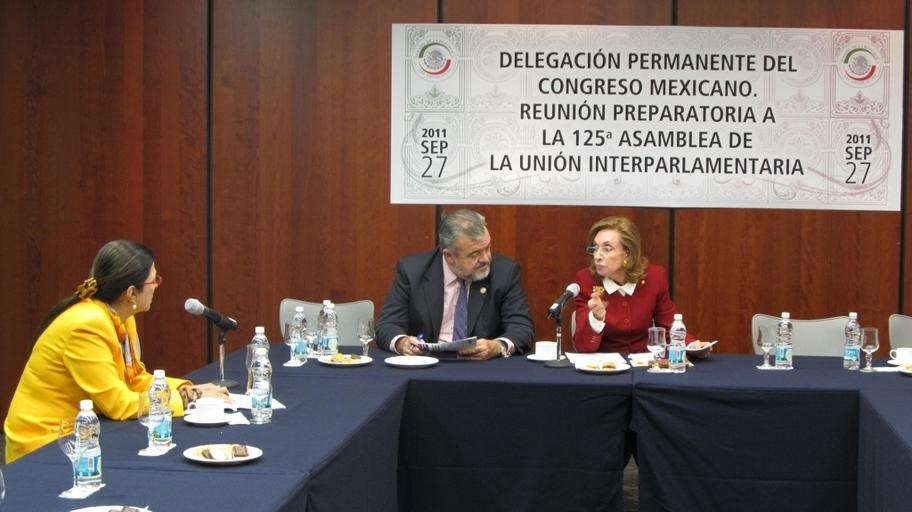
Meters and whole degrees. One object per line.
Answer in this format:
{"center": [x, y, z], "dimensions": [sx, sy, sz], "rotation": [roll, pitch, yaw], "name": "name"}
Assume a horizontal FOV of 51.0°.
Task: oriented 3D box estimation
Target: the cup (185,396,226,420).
{"center": [-1.699, 1.021, 6.467], "dimensions": [0.194, 0.140, 0.149], "rotation": [-1, 1, -10], "name": "cup"}

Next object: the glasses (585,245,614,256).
{"center": [1.198, -0.058, 7.972], "dimensions": [0.102, 0.090, 0.275], "rotation": [-1, 0, -37], "name": "glasses"}

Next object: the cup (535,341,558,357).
{"center": [0.712, 0.738, 7.623], "dimensions": [0.118, 0.090, 0.120], "rotation": [-1, 5, 0], "name": "cup"}

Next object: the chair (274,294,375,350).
{"center": [-1.133, 0.506, 8.370], "dimensions": [0.567, 0.738, 0.531], "rotation": [0, -12, 1], "name": "chair"}

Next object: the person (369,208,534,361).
{"center": [0.002, 0.442, 7.960], "dimensions": [1.250, 1.507, 1.163], "rotation": [7, 24, 8], "name": "person"}

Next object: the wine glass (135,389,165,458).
{"center": [-1.952, 1.058, 6.187], "dimensions": [0.190, 0.448, 0.172], "rotation": [0, 0, -12], "name": "wine glass"}

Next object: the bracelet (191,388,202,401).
{"center": [-1.814, 0.969, 6.669], "dimensions": [0.077, 0.052, 0.139], "rotation": [1, 0, -13], "name": "bracelet"}

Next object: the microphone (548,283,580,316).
{"center": [0.833, 0.334, 7.321], "dimensions": [0.190, 0.228, 0.403], "rotation": [0, 0, 11], "name": "microphone"}

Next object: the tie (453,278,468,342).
{"center": [0.039, 0.434, 7.922], "dimensions": [0.118, 0.492, 0.112], "rotation": [0, 0, 3], "name": "tie"}
